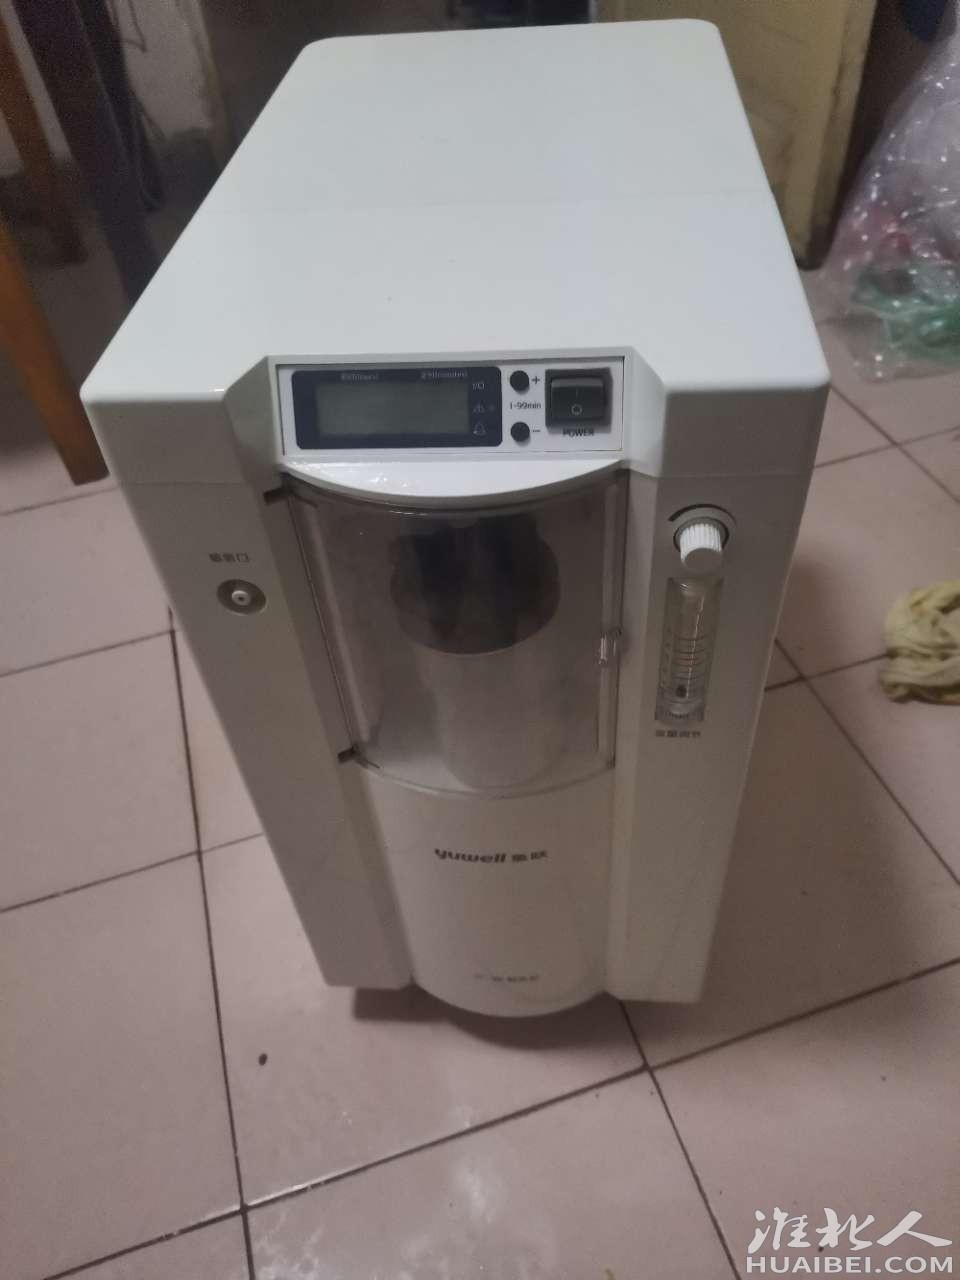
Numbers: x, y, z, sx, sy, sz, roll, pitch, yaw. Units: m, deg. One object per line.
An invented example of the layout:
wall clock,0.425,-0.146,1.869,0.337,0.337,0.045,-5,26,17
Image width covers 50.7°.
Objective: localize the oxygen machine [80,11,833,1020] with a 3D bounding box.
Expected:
oxygen machine,0.033,-0.149,1.099,0.459,0.877,0.729,3,53,8
